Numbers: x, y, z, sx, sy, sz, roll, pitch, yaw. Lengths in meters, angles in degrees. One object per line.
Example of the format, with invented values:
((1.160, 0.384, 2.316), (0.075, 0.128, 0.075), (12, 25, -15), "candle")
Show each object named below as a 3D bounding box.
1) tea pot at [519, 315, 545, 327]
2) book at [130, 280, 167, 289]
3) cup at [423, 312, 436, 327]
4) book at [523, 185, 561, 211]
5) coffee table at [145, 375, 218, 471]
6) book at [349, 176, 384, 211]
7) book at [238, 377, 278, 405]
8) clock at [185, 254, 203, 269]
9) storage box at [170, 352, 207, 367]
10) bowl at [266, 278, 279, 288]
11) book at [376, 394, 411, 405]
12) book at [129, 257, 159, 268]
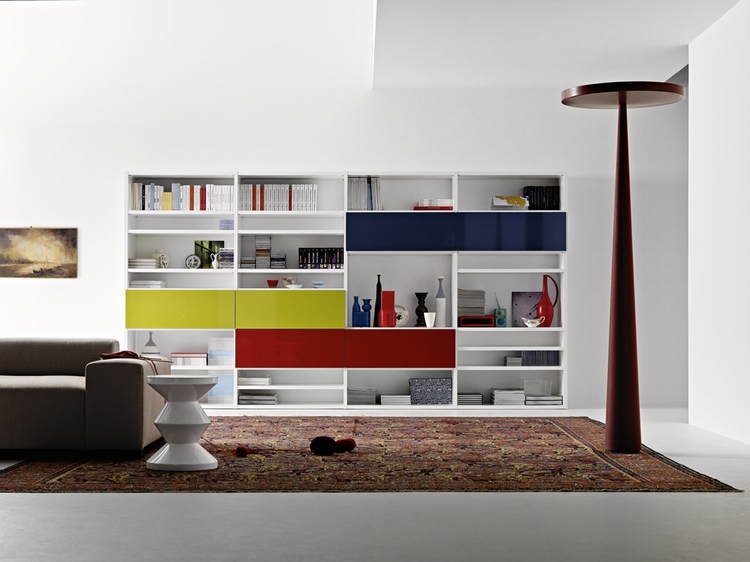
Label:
((1.802, 0.437, 8.999), (0.179, 0.076, 0.122), (-3, 3, -39), "tea pot")
((-2.577, 0.020, 8.982), (0.398, 0.079, 0.218), (0, 3, -14), "book")
((0.603, 0.423, 8.922), (0.139, 0.149, 0.140), (-1, -3, 0), "cup")
((1.900, -0.959, 8.972), (0.451, 0.319, 0.247), (0, 2, 4), "book")
((-1.455, 1.045, 6.130), (0.659, 0.799, 0.641), (0, 0, 9), "coffee table")
((-0.121, -1.005, 8.975), (0.396, 0.393, 0.041), (0, -5, -6), "book")
((-1.329, 1.215, 8.990), (0.436, 0.291, 0.296), (0, 2, -4), "book")
((-2.068, -0.237, 9.088), (0.160, 0.165, 0.064), (0, -6, -1), "clock")
((-2.107, 0.877, 8.985), (0.426, 0.150, 0.270), (0, 2, -2), "storage box")
((-1.176, 0.011, 9.046), (0.104, 0.079, 0.099), (1, -1, 0), "bowl")
((0.223, 1.321, 8.937), (0.360, 0.105, 0.230), (0, 2, -7), "book")
((-2.603, -0.212, 8.948), (0.319, 0.114, 0.191), (0, 2, 1), "book")
